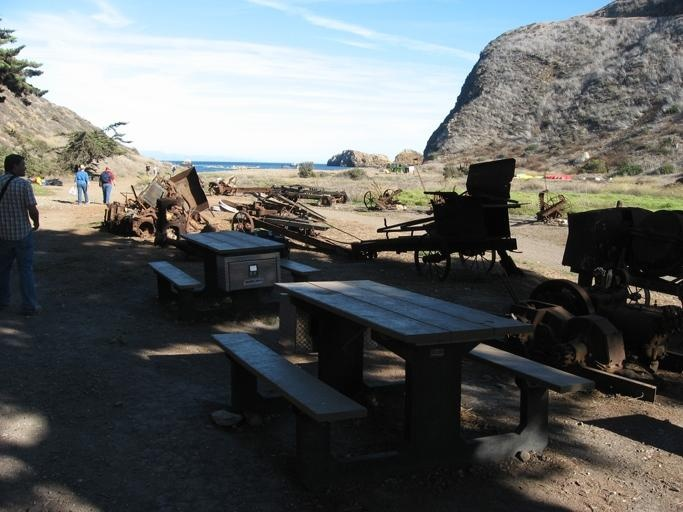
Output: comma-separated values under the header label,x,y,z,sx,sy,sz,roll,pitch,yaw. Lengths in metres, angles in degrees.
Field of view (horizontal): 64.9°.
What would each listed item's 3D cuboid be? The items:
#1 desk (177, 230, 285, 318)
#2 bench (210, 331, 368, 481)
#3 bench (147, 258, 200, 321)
label,x,y,z,sx,sy,sz,roll,pitch,yaw
desk,-1.829,0.158,8.592,1.759,1.270,1.662,-3,11,-30
bench,-0.517,1.250,4.530,0.393,0.624,1.717,-4,13,-34
bench,-2.548,0.512,8.124,0.343,0.591,1.621,-2,13,-30
